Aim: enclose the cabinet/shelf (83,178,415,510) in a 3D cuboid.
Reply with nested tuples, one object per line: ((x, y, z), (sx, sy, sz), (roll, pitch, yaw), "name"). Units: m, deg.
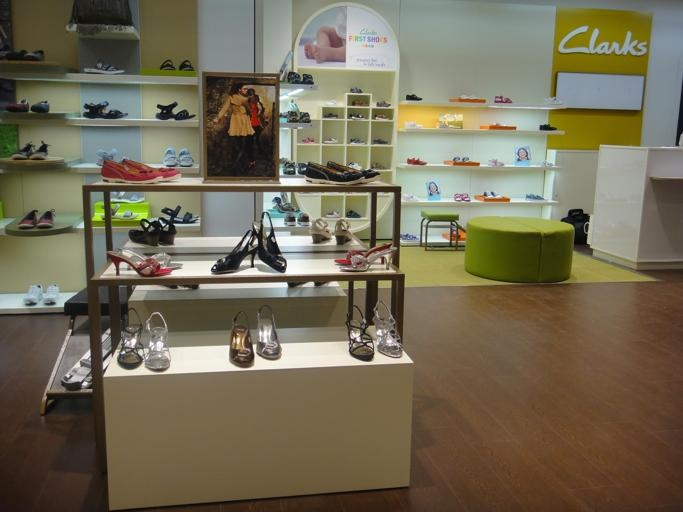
((-0.591, 0.448, 3.259), (1.884, 1.603, 1.718), (-1, 8, -9), "cabinet/shelf")

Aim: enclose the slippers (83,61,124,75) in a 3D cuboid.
((-2.200, -1.720, 4.605), (0.383, 0.122, 0.148), (-10, 27, -34), "slippers")

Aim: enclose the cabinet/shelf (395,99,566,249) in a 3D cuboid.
((2.077, -1.354, 7.915), (2.577, 2.228, 0.772), (-1, 10, -10), "cabinet/shelf")

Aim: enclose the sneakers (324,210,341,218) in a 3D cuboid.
((-0.133, -0.636, 7.747), (0.320, 0.131, 0.171), (0, 4, -20), "sneakers")

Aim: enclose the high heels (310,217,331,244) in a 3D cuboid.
((-0.134, -0.156, 3.213), (0.075, 0.108, 0.222), (2, 11, 5), "high heels")

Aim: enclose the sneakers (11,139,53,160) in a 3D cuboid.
((-2.733, -0.903, 4.476), (0.262, 0.130, 0.350), (-3, 14, -19), "sneakers")

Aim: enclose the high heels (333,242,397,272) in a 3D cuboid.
((0.133, 0.009, 2.751), (0.249, 0.090, 0.182), (-3, 6, -3), "high heels")

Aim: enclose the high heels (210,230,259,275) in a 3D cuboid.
((-0.534, -0.042, 2.712), (0.130, 0.195, 0.389), (15, 27, 33), "high heels")

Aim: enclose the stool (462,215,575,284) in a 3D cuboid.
((2.149, -0.087, 6.133), (0.942, 0.482, 0.926), (2, 12, -1), "stool")

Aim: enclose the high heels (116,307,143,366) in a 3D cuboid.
((-1.110, 0.424, 2.644), (0.145, 0.164, 0.423), (-1, 19, -24), "high heels")

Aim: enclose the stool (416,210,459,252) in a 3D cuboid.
((1.548, -0.494, 8.006), (0.633, 0.829, 0.799), (0, 7, -13), "stool")

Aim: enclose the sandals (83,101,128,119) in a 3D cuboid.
((-2.161, -1.315, 4.662), (0.402, 0.164, 0.207), (-1, 15, -15), "sandals")

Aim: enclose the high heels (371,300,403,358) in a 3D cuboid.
((0.246, 0.443, 2.809), (0.122, 0.098, 0.343), (-2, 25, -10), "high heels")

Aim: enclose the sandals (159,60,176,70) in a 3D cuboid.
((-1.604, -1.735, 4.607), (0.126, 0.092, 0.186), (2, 19, -15), "sandals")

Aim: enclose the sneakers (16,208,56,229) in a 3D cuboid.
((-2.700, -0.325, 4.487), (0.202, 0.099, 0.281), (-1, 8, -14), "sneakers")

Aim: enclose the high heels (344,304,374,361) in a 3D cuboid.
((0.093, 0.445, 2.725), (0.098, 0.092, 0.316), (-5, 15, -7), "high heels")

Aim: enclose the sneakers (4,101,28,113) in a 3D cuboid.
((-2.862, -1.306, 4.457), (0.104, 0.102, 0.259), (31, 2, -24), "sneakers")

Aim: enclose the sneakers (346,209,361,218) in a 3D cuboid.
((0.173, -0.645, 7.844), (0.239, 0.109, 0.102), (-2, 10, -29), "sneakers")

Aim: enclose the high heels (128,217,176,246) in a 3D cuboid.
((-1.183, -0.157, 3.110), (0.182, 0.125, 0.316), (-6, 12, -32), "high heels")

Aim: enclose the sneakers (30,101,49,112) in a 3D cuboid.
((-2.658, -1.309, 4.458), (0.097, 0.100, 0.242), (20, 11, -18), "sneakers")
